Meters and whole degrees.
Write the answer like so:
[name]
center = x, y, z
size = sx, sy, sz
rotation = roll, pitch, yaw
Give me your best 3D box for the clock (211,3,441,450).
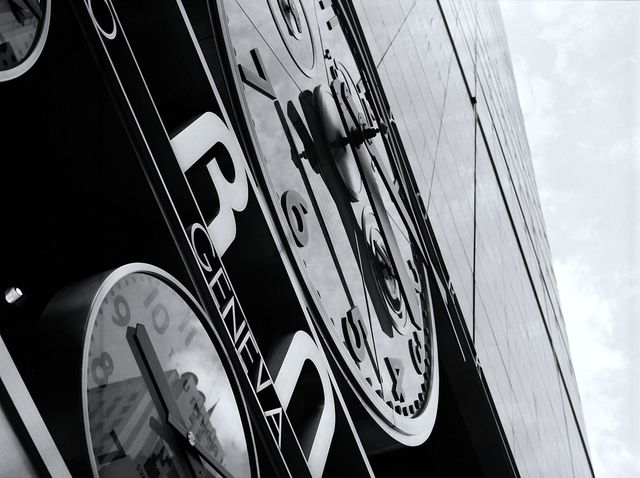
[clock]
center = 0.017, -0.039, 5.461
size = 0.185, 2.897, 2.341
rotation = -14, -19, 18
